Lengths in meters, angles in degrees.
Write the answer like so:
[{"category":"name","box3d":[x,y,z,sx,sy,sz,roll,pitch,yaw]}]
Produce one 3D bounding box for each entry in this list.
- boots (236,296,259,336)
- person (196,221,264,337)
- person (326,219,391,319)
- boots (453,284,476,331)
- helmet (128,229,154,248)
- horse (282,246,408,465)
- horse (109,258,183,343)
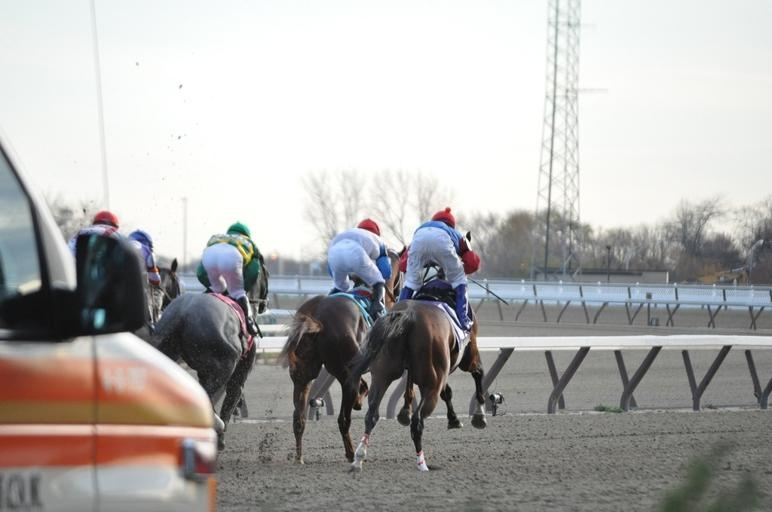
[{"category":"boots","box3d":[-1.406,0.651,13.613,0.130,0.579,0.170,-21,-20,4]},{"category":"person","box3d":[-1.634,0.303,14.259,0.661,0.984,1.674,-4,0,8]},{"category":"person","box3d":[-0.308,0.177,14.583,0.678,1.111,1.534,-3,0,17]},{"category":"boots","box3d":[0.831,0.573,13.907,0.122,0.592,0.292,-8,7,5]},{"category":"helmet","box3d":[-2.334,-0.143,12.462,0.221,0.171,0.086,39,40,0]},{"category":"horse","box3d":[-0.428,1.204,14.426,0.749,1.978,2.912,3,6,15]},{"category":"horse","box3d":[-2.860,0.670,15.333,0.318,1.094,1.449,9,9,32]}]
